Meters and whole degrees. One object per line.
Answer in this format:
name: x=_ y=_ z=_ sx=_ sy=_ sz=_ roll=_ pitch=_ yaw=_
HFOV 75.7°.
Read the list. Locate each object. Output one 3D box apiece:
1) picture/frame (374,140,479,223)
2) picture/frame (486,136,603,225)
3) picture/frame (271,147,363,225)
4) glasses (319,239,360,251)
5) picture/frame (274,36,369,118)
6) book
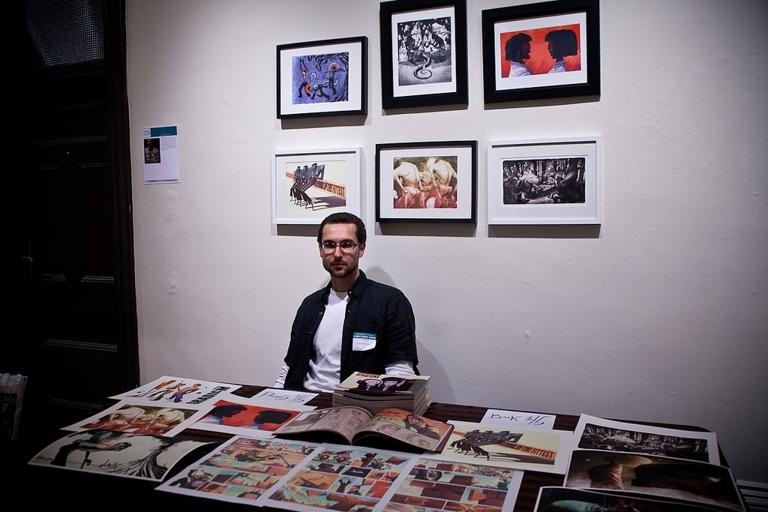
picture/frame: x=0.268 y=-0.445 z=2.927 sx=0.547 sy=0.380 sz=0.022 roll=0 pitch=3 yaw=19
picture/frame: x=0.913 y=-0.427 z=2.763 sx=0.551 sy=0.403 sz=0.042 roll=0 pitch=1 yaw=16
picture/frame: x=-0.400 y=-0.435 z=3.062 sx=0.550 sy=0.376 sz=0.040 roll=2 pitch=5 yaw=21
glasses: x=-0.248 y=-0.062 z=2.668 sx=0.182 sy=0.057 sz=0.042 roll=-2 pitch=8 yaw=-2
picture/frame: x=-0.368 y=-1.107 z=3.059 sx=0.568 sy=0.391 sz=0.039 roll=2 pitch=7 yaw=17
book: x=-0.070 y=0.644 z=2.116 sx=0.706 sy=0.151 sz=0.441 roll=0 pitch=8 yaw=8
